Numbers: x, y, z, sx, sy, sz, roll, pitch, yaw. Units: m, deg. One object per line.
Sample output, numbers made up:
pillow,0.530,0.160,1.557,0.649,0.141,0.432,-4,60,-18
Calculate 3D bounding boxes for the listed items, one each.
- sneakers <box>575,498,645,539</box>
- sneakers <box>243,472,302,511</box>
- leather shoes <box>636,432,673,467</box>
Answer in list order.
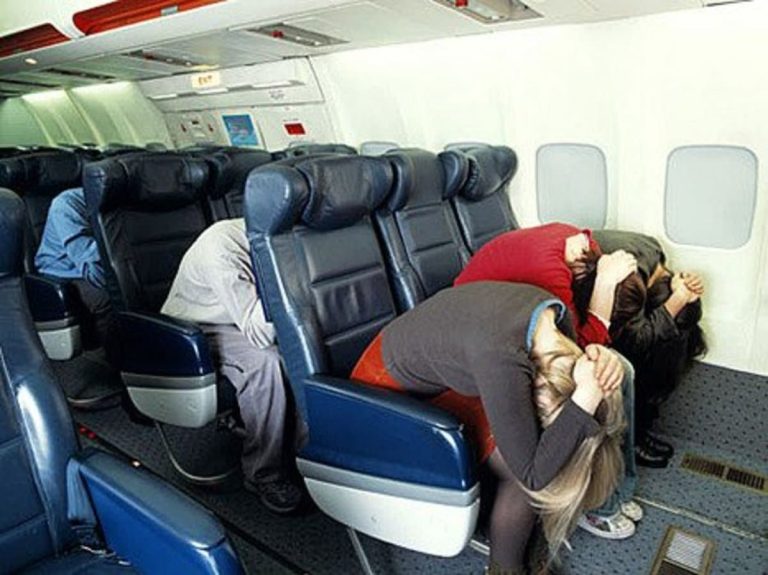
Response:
sneakers,1.022,1.068,2.446,0.334,0.156,0.130,-5,17,19
sneakers,-0.542,0.973,2.611,0.284,0.142,0.130,18,24,23
leather shoes,1.455,0.870,2.829,0.196,0.071,0.149,6,35,25
